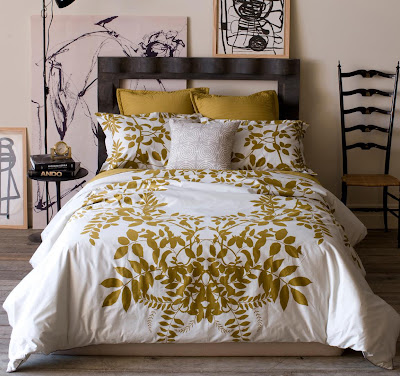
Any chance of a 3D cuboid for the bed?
[{"bbox_3d":[-0.072,0.087,3.022,1.934,1.089,1.806,1,21,1],"label":"bed"}]
